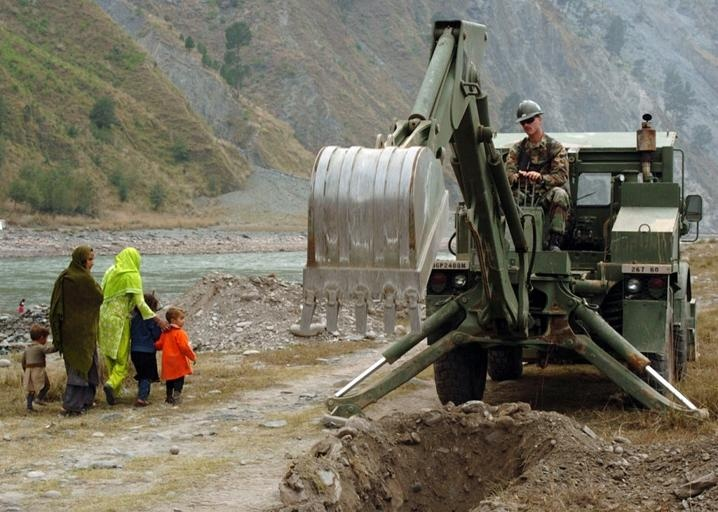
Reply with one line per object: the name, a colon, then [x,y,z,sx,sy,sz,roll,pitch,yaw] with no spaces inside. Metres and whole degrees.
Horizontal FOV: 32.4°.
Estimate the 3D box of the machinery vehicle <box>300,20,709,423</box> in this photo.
machinery vehicle: [10.296,-1.185,65.242,18.405,18.273,29.115,2,1,37]
